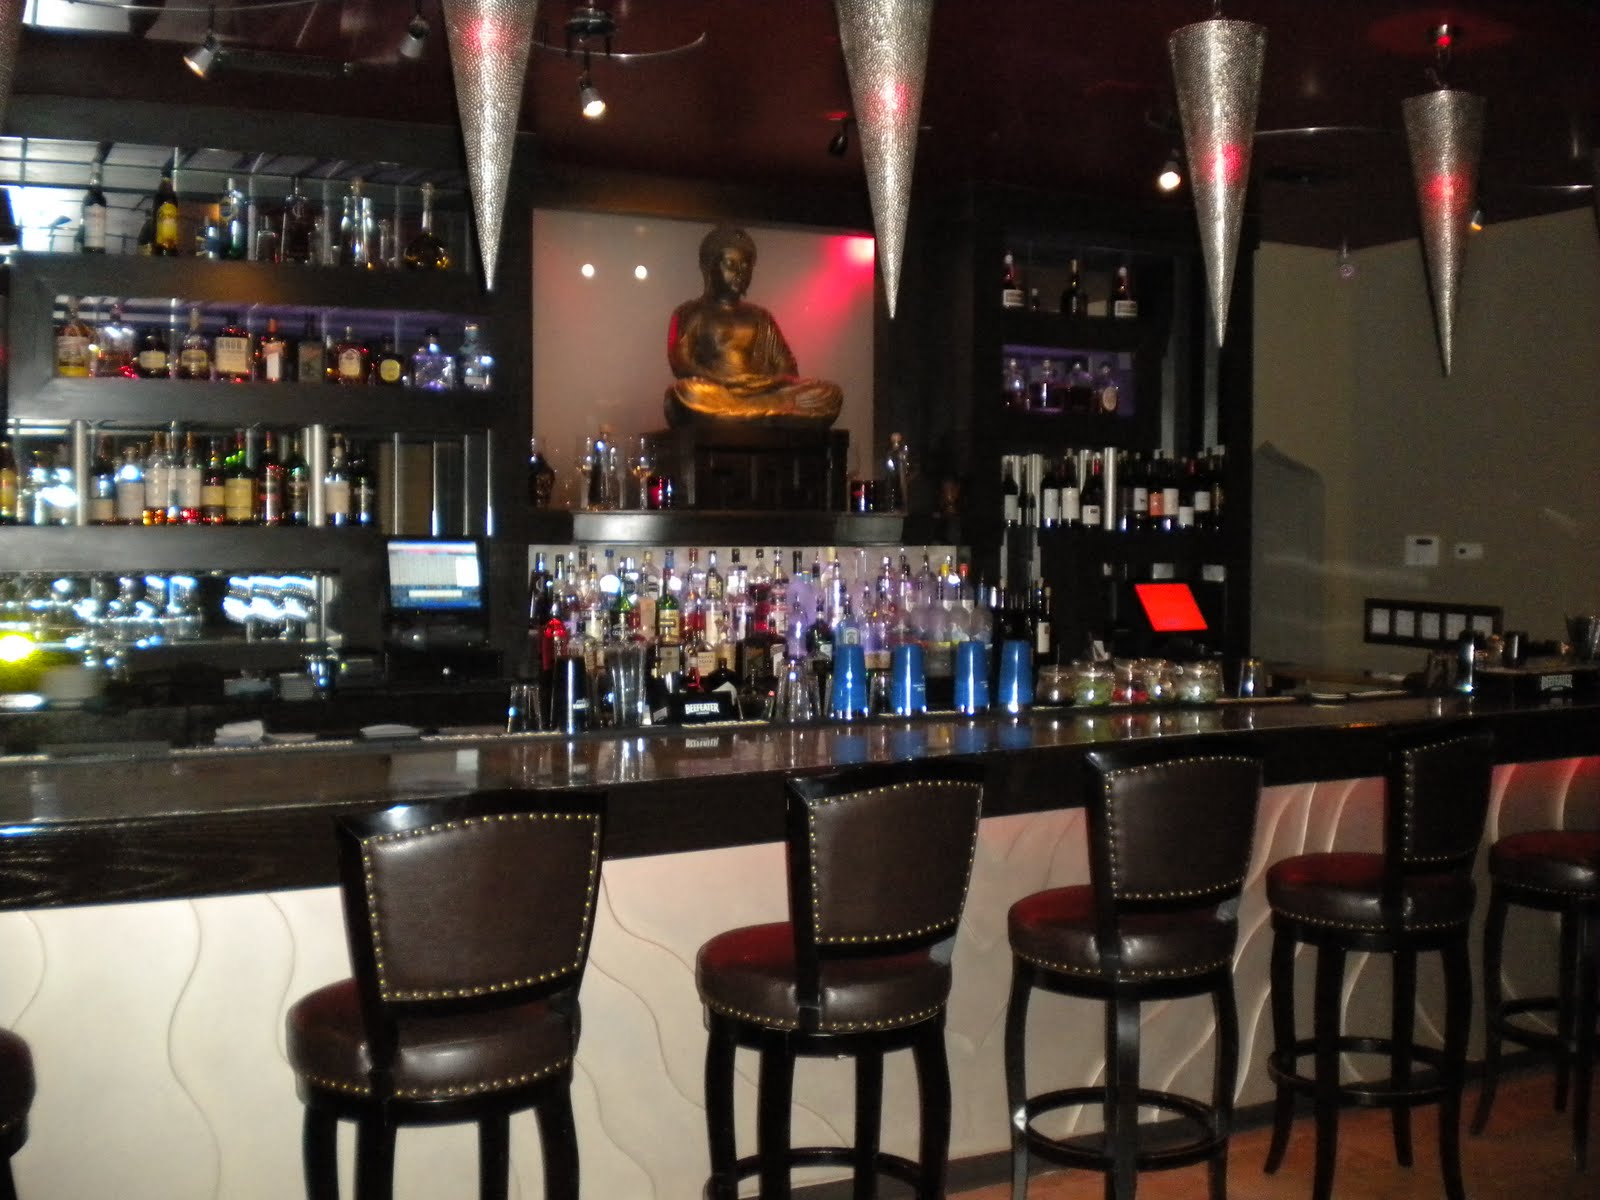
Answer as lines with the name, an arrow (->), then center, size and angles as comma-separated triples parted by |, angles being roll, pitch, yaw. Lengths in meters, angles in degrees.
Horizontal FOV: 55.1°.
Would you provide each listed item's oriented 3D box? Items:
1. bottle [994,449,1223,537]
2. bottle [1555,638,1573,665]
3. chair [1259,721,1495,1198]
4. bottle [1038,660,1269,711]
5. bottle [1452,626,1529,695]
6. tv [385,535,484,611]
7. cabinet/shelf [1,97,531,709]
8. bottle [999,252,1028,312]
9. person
bottle -> 1.524, -0.519, 7.401 | 1.168, 0.419, 0.351 | -3, 1, -25
bottle -> 2.817, 0.195, 5.657 | 0.050, 0.051, 0.090 | -4, 26, 18
chair -> 1.648, 1.035, 4.417 | 0.628, 1.352, 0.781 | -2, 1, 17
bottle -> 1.129, 0.277, 5.126 | 0.672, 0.154, 0.229 | -3, 1, -14
bottle -> 2.410, 0.211, 5.376 | 0.218, 0.169, 0.222 | 0, 3, 0
tv -> -1.451, -0.092, 6.075 | 0.446, 0.402, 0.247 | 0, 8, -15
cabinet/shelf -> -2.112, -0.748, 5.790 | 2.260, 2.657, 0.752 | 0, 2, -18
bottle -> 1.021, -1.530, 7.377 | 0.112, 0.313, 0.315 | -2, 1, 9
person -> -0.247, -1.261, 7.058 | 0.763, 0.988, 0.691 | -1, 5, -11
